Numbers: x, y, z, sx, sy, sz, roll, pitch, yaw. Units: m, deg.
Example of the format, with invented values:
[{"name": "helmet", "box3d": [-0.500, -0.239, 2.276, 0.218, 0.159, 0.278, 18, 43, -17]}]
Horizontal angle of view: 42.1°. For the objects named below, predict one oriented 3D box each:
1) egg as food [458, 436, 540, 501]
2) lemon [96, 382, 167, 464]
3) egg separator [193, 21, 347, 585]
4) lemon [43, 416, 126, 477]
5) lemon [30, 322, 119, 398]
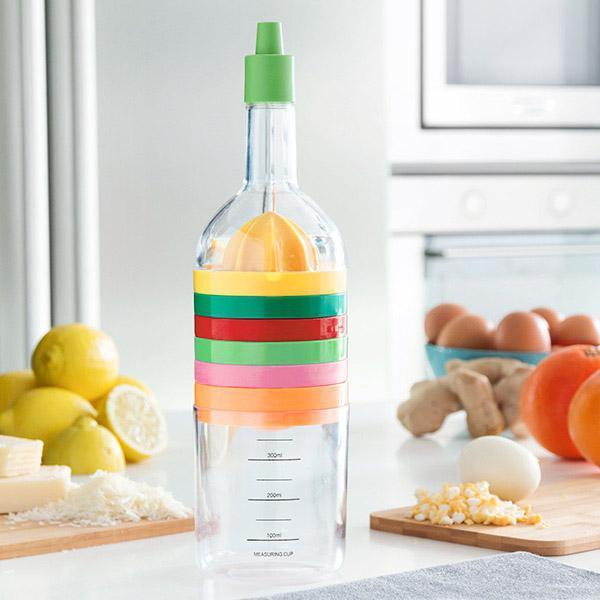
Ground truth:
[{"name": "egg as food", "box3d": [0.139, 0.115, 0.550, 0.053, 0.038, 0.039, -4, -10, 24]}, {"name": "lemon", "box3d": [-0.172, 0.109, 0.735, 0.041, 0.066, 0.070, -34, -22, 26]}, {"name": "egg separator", "box3d": [-0.016, 0.000, 0.406, 0.087, 0.279, 0.065, -3, 3, -11]}, {"name": "lemon", "box3d": [-0.182, 0.114, 0.637, 0.056, 0.033, 0.053, 0, -4, 1]}, {"name": "lemon", "box3d": [-0.199, 0.052, 0.695, 0.066, 0.067, 0.072, -3, -4, 21]}]
